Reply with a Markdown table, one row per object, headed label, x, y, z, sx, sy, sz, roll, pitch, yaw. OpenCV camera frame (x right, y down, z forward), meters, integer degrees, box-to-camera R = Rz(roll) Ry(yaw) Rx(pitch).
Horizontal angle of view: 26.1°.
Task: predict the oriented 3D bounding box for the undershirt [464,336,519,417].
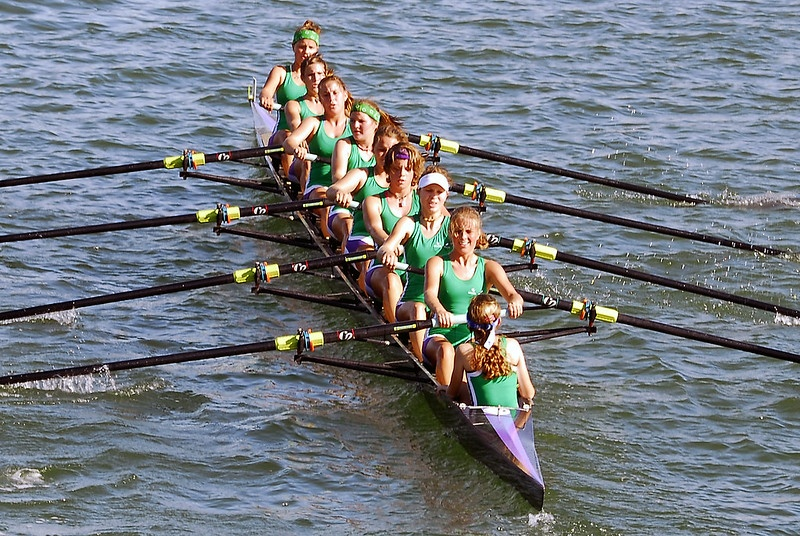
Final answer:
| label | x | y | z | sx | sy | sz | roll | pitch | yaw |
| --- | --- | --- | --- | --- | --- | --- | --- | --- | --- |
| undershirt | 1.498 | 1.471 | 26.451 | 0.939 | 0.700 | 1.140 | -2 | 100 | -5 |

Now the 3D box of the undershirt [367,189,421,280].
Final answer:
| label | x | y | z | sx | sy | sz | roll | pitch | yaw |
| --- | --- | --- | --- | --- | --- | --- | --- | --- | --- |
| undershirt | -0.136 | -0.752 | 28.408 | 1.383 | 0.516 | 1.205 | 3 | 89 | -22 |
